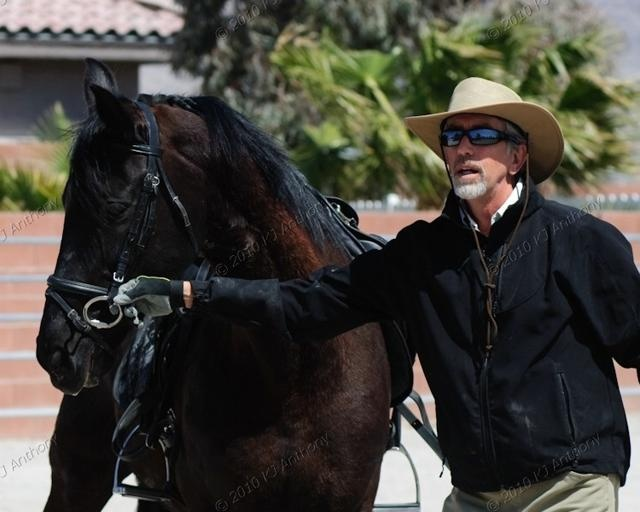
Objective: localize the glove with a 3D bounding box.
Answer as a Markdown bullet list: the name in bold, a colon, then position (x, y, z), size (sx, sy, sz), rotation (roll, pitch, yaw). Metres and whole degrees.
- **glove**: position (-1.183, 0.308, 10.131), size (0.406, 0.277, 0.169), rotation (6, 41, -11)
